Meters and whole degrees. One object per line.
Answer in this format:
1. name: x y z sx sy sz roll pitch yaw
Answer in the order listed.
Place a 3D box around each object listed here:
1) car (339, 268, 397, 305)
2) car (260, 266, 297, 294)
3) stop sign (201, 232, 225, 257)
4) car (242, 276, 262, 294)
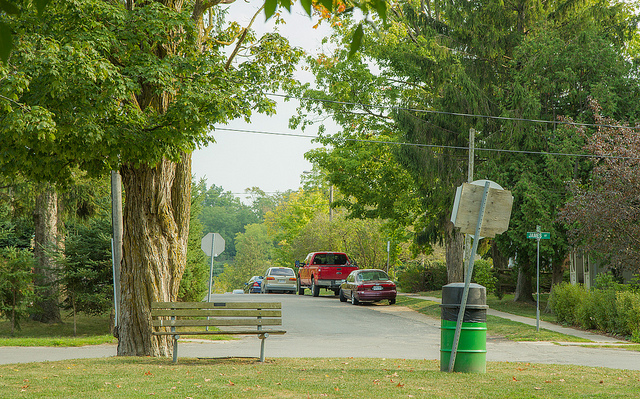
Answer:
1. car: 2.409 4.534 49.448 1.843 1.104 3.355 1 -3 -8
2. car: -2.412 4.997 59.602 1.884 1.675 2.982 0 -9 -7
3. stop sign: -4.321 1.841 39.311 0.851 1.005 1.251 -1 -9 -6
4. car: -4.812 6.500 72.216 1.204 0.839 2.504 1 -1 -10
